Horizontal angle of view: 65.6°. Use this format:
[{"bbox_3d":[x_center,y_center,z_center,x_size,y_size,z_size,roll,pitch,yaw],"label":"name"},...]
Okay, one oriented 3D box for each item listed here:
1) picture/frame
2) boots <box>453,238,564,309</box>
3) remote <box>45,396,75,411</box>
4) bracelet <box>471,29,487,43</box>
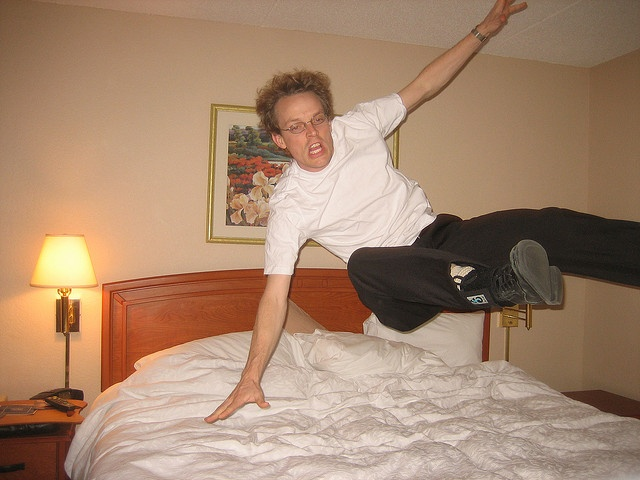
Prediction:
[{"bbox_3d":[-0.129,-0.372,2.832,1.246,0.731,0.038,-1,1,-9],"label":"picture/frame"},{"bbox_3d":[0.686,0.127,1.847,0.394,0.249,0.191,2,1,15],"label":"boots"},{"bbox_3d":[-1.522,0.982,2.937,0.150,0.026,0.083,9,-5,18],"label":"remote"},{"bbox_3d":[0.838,-1.061,2.612,0.021,0.071,0.073,-42,-26,17],"label":"bracelet"}]
